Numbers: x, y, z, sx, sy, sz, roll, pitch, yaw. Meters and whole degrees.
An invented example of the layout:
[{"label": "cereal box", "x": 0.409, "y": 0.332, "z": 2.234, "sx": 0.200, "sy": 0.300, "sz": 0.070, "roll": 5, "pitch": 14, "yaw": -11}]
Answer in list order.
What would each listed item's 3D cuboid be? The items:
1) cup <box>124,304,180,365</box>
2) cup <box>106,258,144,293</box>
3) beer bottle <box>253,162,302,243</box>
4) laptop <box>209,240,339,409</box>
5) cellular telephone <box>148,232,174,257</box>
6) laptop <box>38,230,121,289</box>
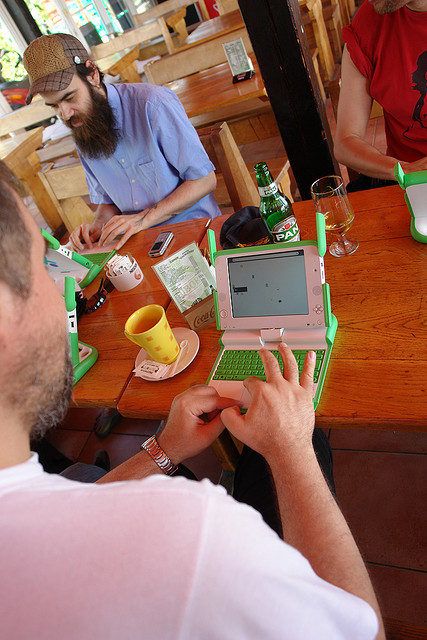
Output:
[{"label": "cup", "x": -0.147, "y": 0.066, "z": 1.068, "sx": 0.088, "sy": 0.131, "sz": 0.130, "roll": -7, "pitch": 57, "yaw": -8}, {"label": "cup", "x": -0.264, "y": -0.130, "z": 1.452, "sx": 0.099, "sy": 0.072, "sz": 0.096, "roll": -6, "pitch": 53, "yaw": 8}, {"label": "beer bottle", "x": 0.157, "y": -0.284, "z": 1.151, "sx": 0.080, "sy": 0.271, "sz": 0.081, "roll": -11, "pitch": 55, "yaw": 16}, {"label": "laptop", "x": 0.097, "y": 0.004, "z": 0.900, "sx": 0.265, "sy": 0.203, "sz": 0.304, "roll": -6, "pitch": 39, "yaw": 17}, {"label": "cellular telephone", "x": -0.178, "y": -0.271, "z": 1.632, "sx": 0.058, "sy": 0.024, "sz": 0.116, "roll": -4, "pitch": 46, "yaw": 41}, {"label": "laptop", "x": -0.483, "y": -0.258, "z": 1.767, "sx": 0.249, "sy": 0.233, "sz": 0.161, "roll": 13, "pitch": 72, "yaw": 48}]
